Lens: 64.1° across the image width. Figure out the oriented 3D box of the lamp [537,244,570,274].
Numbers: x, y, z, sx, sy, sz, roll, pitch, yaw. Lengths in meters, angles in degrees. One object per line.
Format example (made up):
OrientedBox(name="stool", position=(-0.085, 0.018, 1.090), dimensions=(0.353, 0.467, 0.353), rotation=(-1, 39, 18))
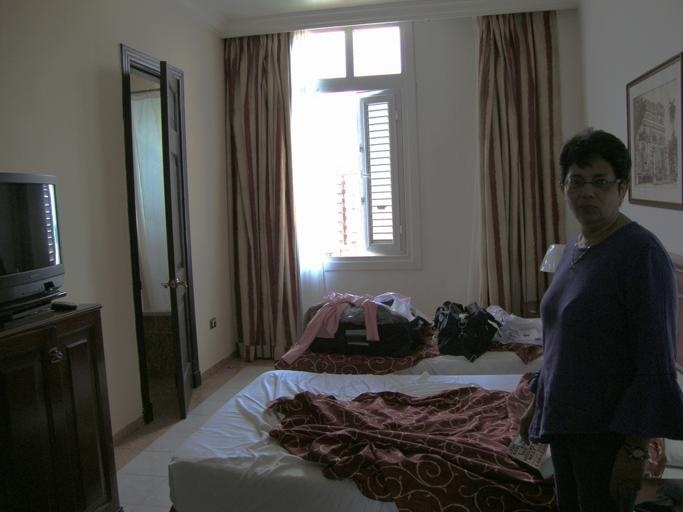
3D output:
OrientedBox(name="lamp", position=(1.297, 0.011, 3.352), dimensions=(0.208, 0.198, 0.251), rotation=(-2, 1, 3))
